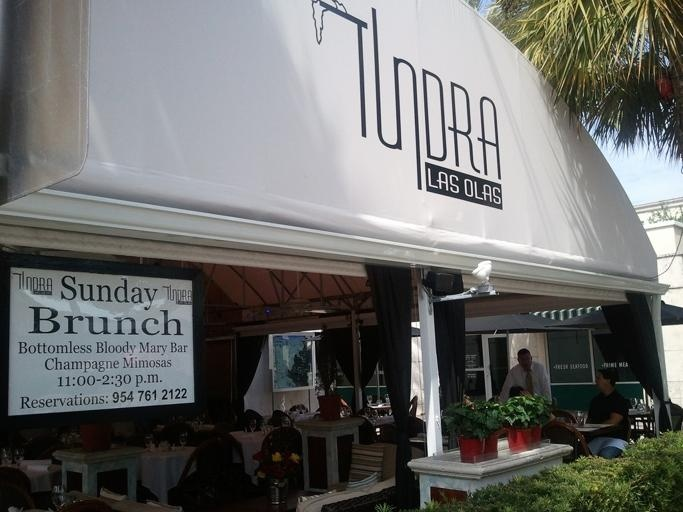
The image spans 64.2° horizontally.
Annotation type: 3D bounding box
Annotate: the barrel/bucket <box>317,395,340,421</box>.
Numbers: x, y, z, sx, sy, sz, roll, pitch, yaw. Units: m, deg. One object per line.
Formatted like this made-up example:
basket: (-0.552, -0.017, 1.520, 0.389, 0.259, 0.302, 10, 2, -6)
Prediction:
barrel/bucket: (-0.197, 2.426, 8.789, 0.322, 0.296, 0.348, 0, -5, 0)

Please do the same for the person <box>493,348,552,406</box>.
person: (3.024, 2.188, 8.977, 0.772, 1.236, 0.630, -13, -19, 25)

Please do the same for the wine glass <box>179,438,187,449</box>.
wine glass: (-2.316, 2.739, 7.966, 0.124, 0.169, 0.135, -1, -9, -9)

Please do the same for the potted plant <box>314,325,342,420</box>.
potted plant: (-0.321, 3.113, 13.834, 0.582, 2.309, 0.611, -8, -9, 28)
